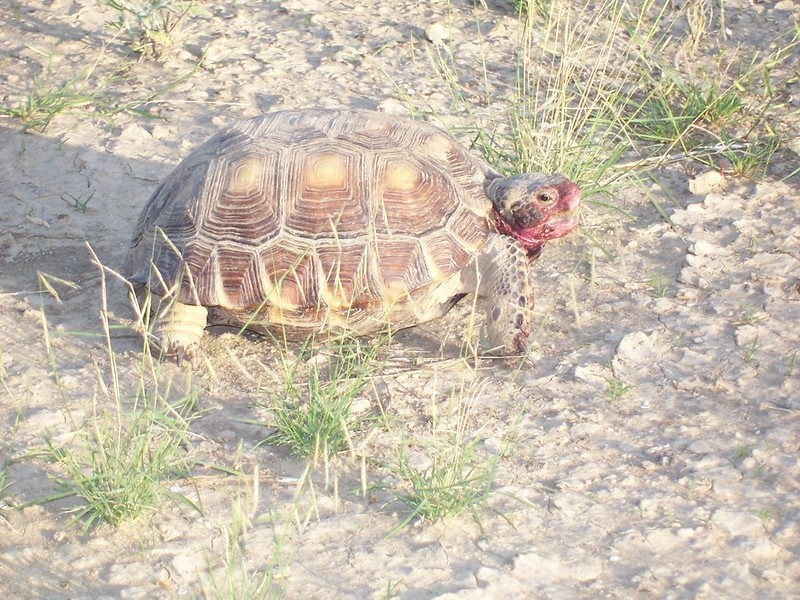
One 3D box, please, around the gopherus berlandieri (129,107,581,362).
[{"bbox_3d":[-0.313,-0.308,5.016,2.293,0.846,1.203,3,50,-6],"label":"gopherus berlandieri"}]
